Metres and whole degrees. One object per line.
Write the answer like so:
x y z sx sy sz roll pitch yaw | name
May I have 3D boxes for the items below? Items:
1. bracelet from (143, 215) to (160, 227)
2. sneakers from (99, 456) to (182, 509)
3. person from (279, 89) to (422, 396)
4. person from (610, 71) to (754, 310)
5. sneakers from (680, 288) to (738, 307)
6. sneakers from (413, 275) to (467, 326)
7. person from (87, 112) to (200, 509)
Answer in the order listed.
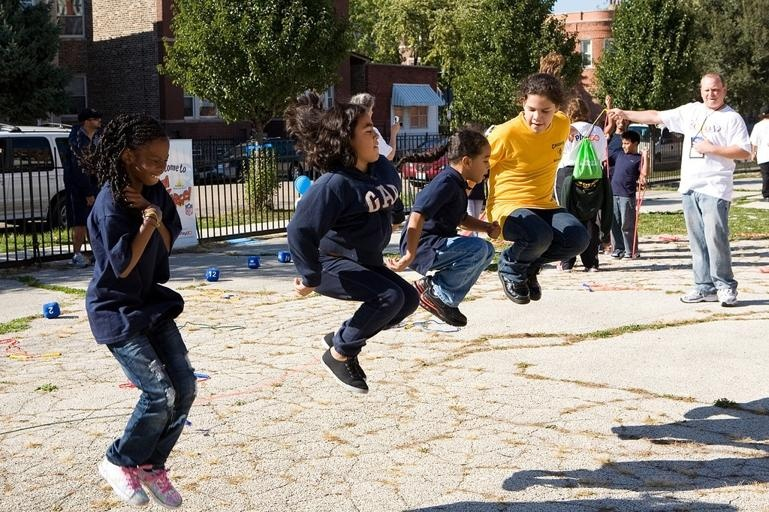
-1.475 -0.221 4.658 0.086 0.046 0.063 7 0 25 | bracelet
-1.562 1.449 4.778 0.566 0.204 0.243 25 26 -9 | sneakers
-0.273 -0.118 5.796 0.945 2.252 0.747 -2 15 -3 | person
3.751 -0.772 8.679 0.710 2.646 1.185 -12 18 -36 | person
3.824 0.475 8.626 0.706 0.262 0.229 3 2 8 | sneakers
0.527 0.421 7.116 0.624 0.285 0.208 35 44 4 | sneakers
-1.621 0.352 4.789 0.664 2.455 0.921 -5 15 -15 | person
